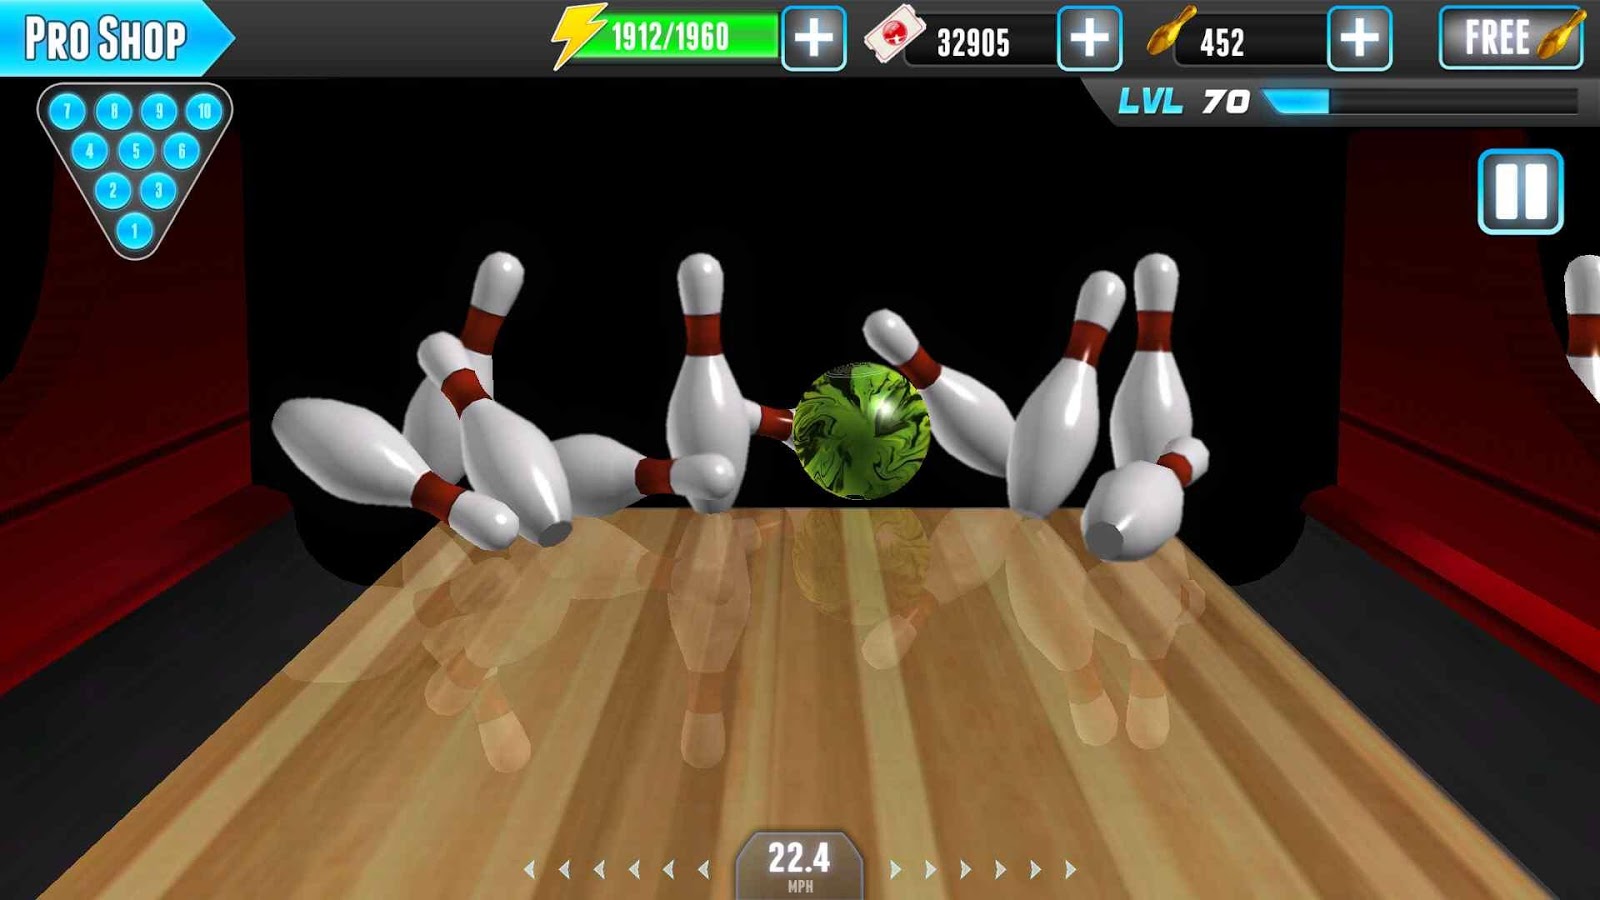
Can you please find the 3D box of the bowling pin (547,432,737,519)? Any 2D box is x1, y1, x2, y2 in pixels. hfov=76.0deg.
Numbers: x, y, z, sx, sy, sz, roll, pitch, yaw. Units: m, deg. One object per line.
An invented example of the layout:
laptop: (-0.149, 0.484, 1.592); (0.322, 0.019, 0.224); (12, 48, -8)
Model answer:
bowling pin: (-0.403, 0.089, 2.615); (0.489, 0.201, 0.120); (4, 20, 16)

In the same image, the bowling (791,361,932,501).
bowling: (0.155, -0.045, 2.814); (0.309, 0.304, 0.393); (-1, -1, -9)

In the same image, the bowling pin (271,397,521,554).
bowling pin: (-0.991, 0.069, 2.510); (0.708, 0.226, 0.224); (27, 46, 6)
